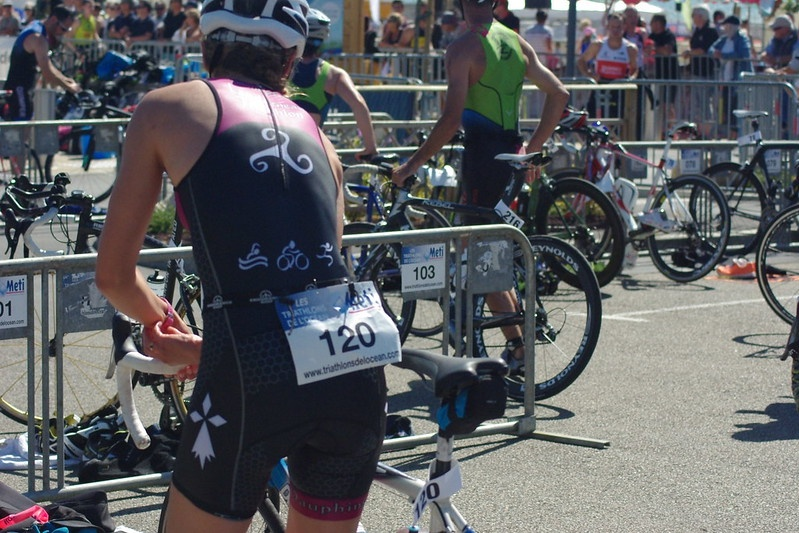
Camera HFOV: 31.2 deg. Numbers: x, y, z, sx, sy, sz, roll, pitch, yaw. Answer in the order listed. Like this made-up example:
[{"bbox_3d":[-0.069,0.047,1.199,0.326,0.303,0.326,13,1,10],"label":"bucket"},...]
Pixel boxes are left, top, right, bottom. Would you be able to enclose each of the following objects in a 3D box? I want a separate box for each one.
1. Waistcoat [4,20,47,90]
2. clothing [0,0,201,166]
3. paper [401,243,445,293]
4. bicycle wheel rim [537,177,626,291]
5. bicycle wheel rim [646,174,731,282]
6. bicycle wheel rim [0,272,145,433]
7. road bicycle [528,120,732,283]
[{"bbox_3d":[-5.030,-2.819,19.122,0.661,0.906,0.469,3,6,9],"label":"Waistcoat"},{"bbox_3d":[-4.927,-2.753,20.363,1.713,2.326,3.559,11,19,43],"label":"clothing"},{"bbox_3d":[0.195,0.003,12.016,0.369,0.398,0.019,-5,7,-29],"label":"paper"},{"bbox_3d":[1.914,-0.366,14.870,1.094,1.173,0.371,4,9,36],"label":"bicycle wheel rim"},{"bbox_3d":[3.352,-0.467,16.537,1.172,1.248,0.354,-2,-6,45],"label":"bicycle wheel rim"},{"bbox_3d":[-2.605,0.684,11.292,0.268,1.397,1.329,-1,1,34],"label":"bicycle wheel rim"},{"bbox_3d":[2.796,-0.749,16.991,1.126,1.885,2.806,-1,-1,-39],"label":"road bicycle"}]
